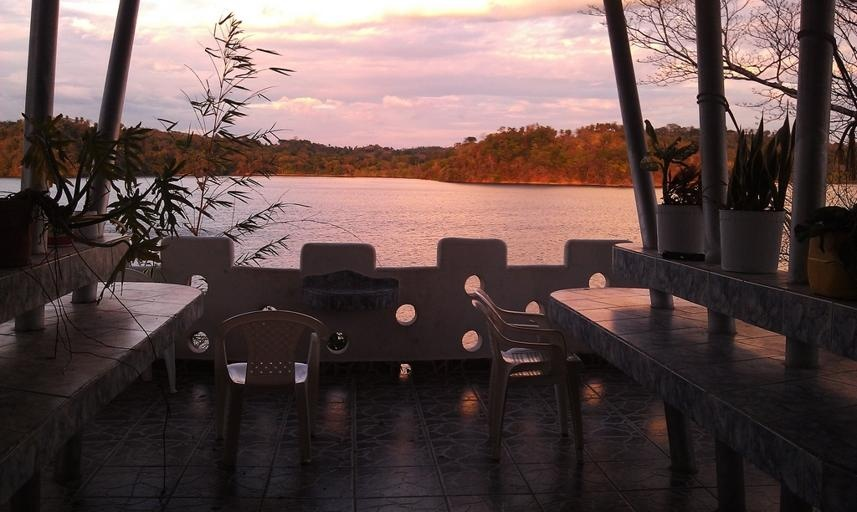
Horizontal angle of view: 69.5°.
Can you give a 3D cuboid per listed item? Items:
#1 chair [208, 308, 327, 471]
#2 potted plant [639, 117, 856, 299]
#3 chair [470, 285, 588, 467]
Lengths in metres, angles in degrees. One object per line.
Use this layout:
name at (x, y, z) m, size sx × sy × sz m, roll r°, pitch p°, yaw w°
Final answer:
chair at (-1.185, 1.033, 4.560) m, size 1.068 × 1.284 × 0.964 m, roll 2°, pitch 11°, yaw -7°
potted plant at (1.726, -0.258, 3.763) m, size 1.001 × 0.990 × 1.097 m, roll 0°, pitch -1°, yaw 4°
chair at (0.802, 0.832, 5.000) m, size 1.215 × 1.419 × 1.208 m, roll -3°, pitch 6°, yaw -1°
